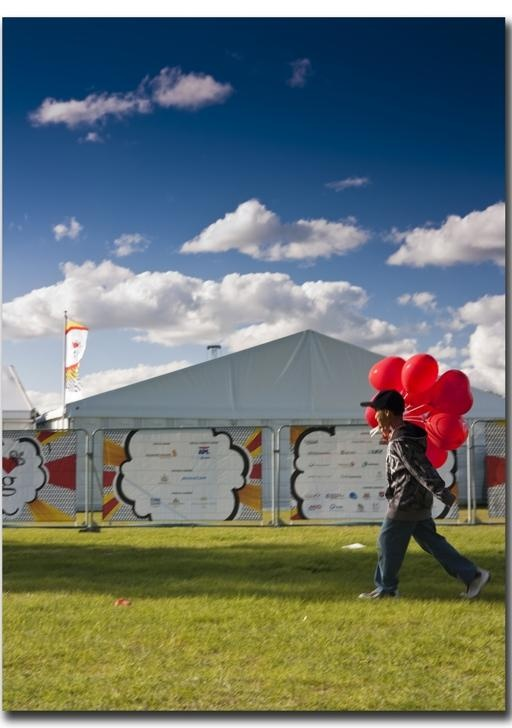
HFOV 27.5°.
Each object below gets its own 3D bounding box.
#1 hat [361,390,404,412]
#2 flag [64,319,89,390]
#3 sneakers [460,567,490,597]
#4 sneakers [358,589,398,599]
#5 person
[{"bbox_3d":[1.106,0.332,9.311,0.332,0.151,0.203,11,1,20],"label":"hat"},{"bbox_3d":[-3.875,-0.250,22.610,0.453,1.110,1.645,-1,1,-9],"label":"flag"},{"bbox_3d":[1.922,1.966,9.205,0.172,0.364,0.126,12,38,-6],"label":"sneakers"},{"bbox_3d":[1.057,2.025,9.162,0.335,0.114,0.113,2,-13,2],"label":"sneakers"},{"bbox_3d":[1.381,1.148,9.108,0.991,1.831,0.871,-1,1,7],"label":"person"}]
